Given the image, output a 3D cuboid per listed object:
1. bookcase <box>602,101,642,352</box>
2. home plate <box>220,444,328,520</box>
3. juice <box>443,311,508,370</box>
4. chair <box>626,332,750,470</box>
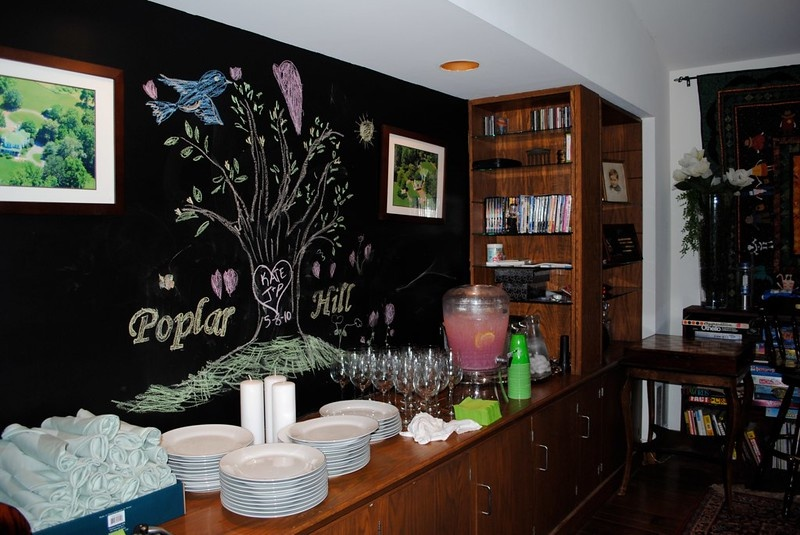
[{"bbox_3d":[1.916,-0.315,4.835,0.344,2.009,0.703,-1,3,25],"label":"bookcase"},{"bbox_3d":[-0.537,0.903,2.382,0.432,0.234,0.277,-3,2,-19],"label":"home plate"},{"bbox_3d":[0.500,0.481,3.832,0.397,0.327,0.359,-1,0,-23],"label":"juice"},{"bbox_3d":[2.346,1.023,4.694,0.931,1.006,0.921,-1,-5,32],"label":"chair"}]
